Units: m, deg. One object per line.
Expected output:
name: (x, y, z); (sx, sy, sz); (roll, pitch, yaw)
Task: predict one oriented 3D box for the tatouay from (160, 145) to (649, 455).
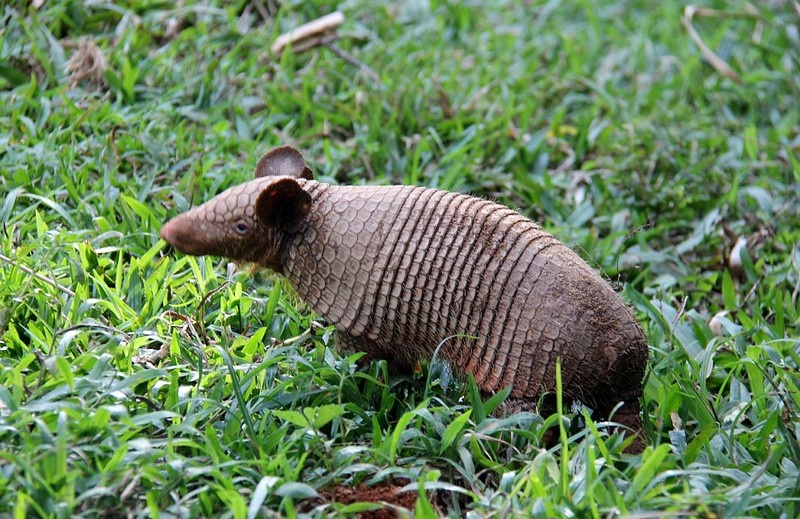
tatouay: (0.062, 0.212, 3.122); (1.917, 1.088, 0.637); (17, 23, 12)
